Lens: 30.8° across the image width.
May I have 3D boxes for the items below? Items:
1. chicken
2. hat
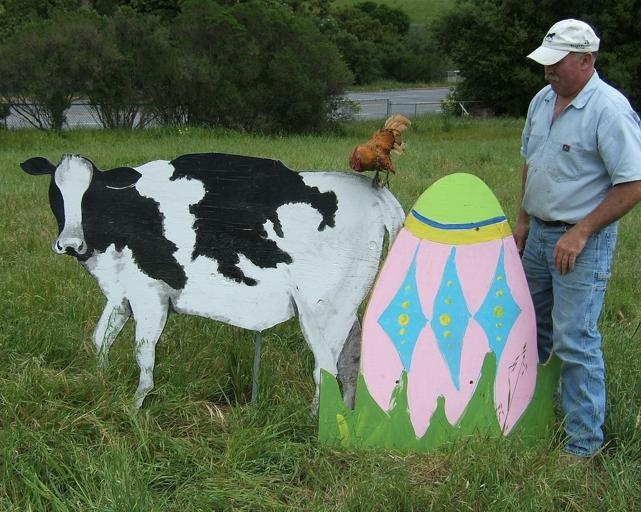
[{"bbox_3d":[0.621,-1.056,12.082,0.505,0.815,0.935,5,17,10],"label":"chicken"},{"bbox_3d":[2.421,-2.139,11.681,0.640,0.476,0.263,1,16,-4],"label":"hat"}]
